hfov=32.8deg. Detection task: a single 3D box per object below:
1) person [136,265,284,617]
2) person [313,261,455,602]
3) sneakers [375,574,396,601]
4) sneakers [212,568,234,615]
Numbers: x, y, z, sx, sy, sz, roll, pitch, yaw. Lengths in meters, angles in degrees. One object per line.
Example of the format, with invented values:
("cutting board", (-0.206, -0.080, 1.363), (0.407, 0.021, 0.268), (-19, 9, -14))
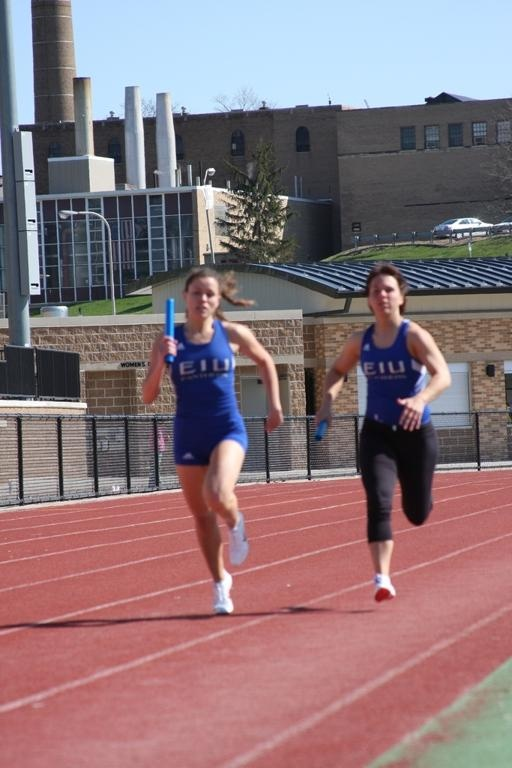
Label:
("person", (-0.225, 0.394, 4.824), (0.755, 2.061, 0.874), (-4, 6, 0))
("person", (0.746, 0.381, 5.021), (0.751, 2.132, 1.132), (-3, 7, 10))
("sneakers", (0.736, 1.155, 4.930), (0.099, 0.110, 0.247), (-13, -25, -1))
("sneakers", (-0.200, 1.225, 5.156), (0.094, 0.278, 0.122), (-5, -16, 14))
